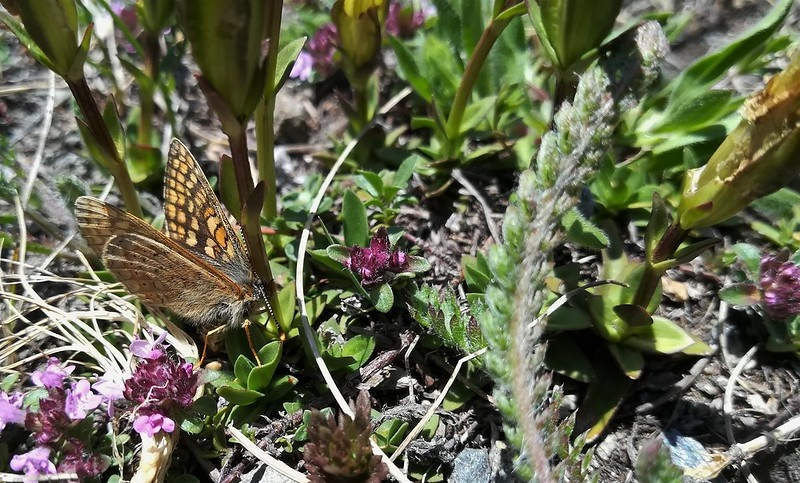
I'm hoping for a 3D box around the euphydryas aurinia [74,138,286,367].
[{"bbox_3d":[-0.794,0.117,2.411,0.799,0.781,0.425,38,56,25],"label":"euphydryas aurinia"}]

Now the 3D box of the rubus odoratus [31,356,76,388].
[{"bbox_3d":[-1.337,0.520,2.473,0.133,0.093,0.134,-5,25,46],"label":"rubus odoratus"}]

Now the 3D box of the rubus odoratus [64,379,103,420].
[{"bbox_3d":[-1.171,0.592,2.374,0.134,0.072,0.143,14,70,-27],"label":"rubus odoratus"}]
